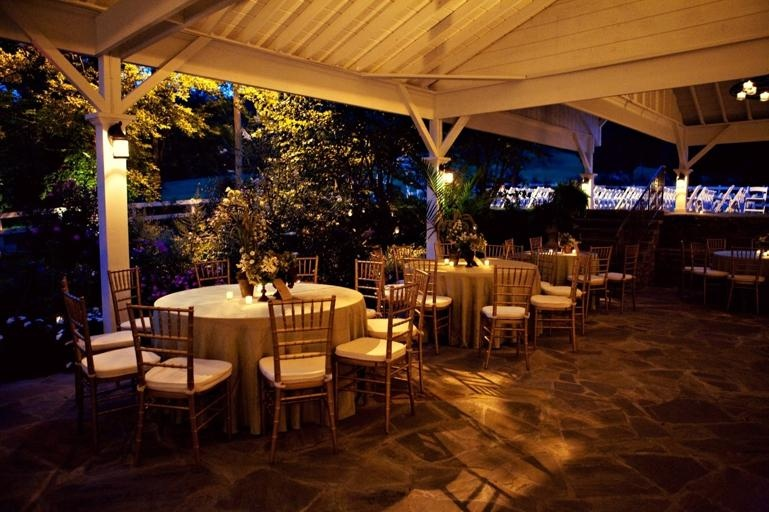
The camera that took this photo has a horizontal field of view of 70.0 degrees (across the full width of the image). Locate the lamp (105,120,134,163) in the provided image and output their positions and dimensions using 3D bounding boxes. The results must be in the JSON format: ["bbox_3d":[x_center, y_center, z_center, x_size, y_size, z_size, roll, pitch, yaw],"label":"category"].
[{"bbox_3d":[-3.310,-1.446,6.818,0.226,0.468,0.331,-3,6,-27],"label":"lamp"}]
